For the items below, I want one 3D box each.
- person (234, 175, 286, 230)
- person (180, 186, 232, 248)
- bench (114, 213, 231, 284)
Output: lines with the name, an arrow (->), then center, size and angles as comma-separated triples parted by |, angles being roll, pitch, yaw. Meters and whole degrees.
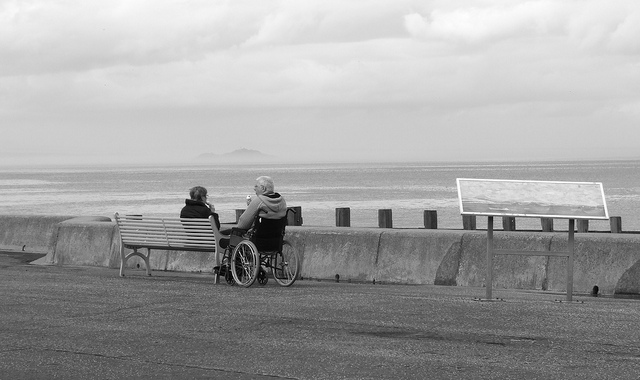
person -> -1.090, 0.253, 14.031 | 0.895, 0.965, 0.575 | 0, 5, -6
person -> -2.296, 0.500, 14.755 | 0.844, 1.112, 1.331 | -1, 5, -19
bench -> -2.897, 1.182, 15.230 | 3.100, 1.265, 1.114 | -1, -7, 40
